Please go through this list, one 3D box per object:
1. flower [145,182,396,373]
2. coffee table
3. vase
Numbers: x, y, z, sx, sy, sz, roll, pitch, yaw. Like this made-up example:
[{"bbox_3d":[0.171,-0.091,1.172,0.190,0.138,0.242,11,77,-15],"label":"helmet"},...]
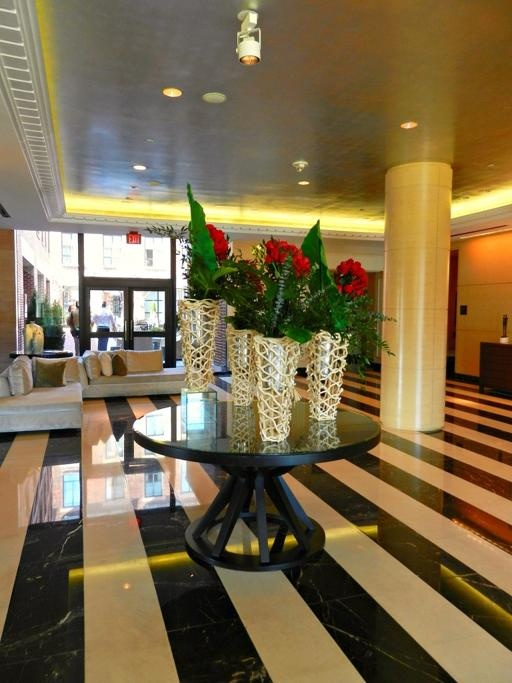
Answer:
[{"bbox_3d":[0.089,-0.249,2.189,0.916,0.819,0.575,1,1,30],"label":"flower"},{"bbox_3d":[-0.011,0.717,2.308,1.065,0.534,1.060,-2,8,-13],"label":"coffee table"},{"bbox_3d":[0.043,0.156,2.366,0.627,0.604,0.810,-6,8,-44],"label":"vase"}]
